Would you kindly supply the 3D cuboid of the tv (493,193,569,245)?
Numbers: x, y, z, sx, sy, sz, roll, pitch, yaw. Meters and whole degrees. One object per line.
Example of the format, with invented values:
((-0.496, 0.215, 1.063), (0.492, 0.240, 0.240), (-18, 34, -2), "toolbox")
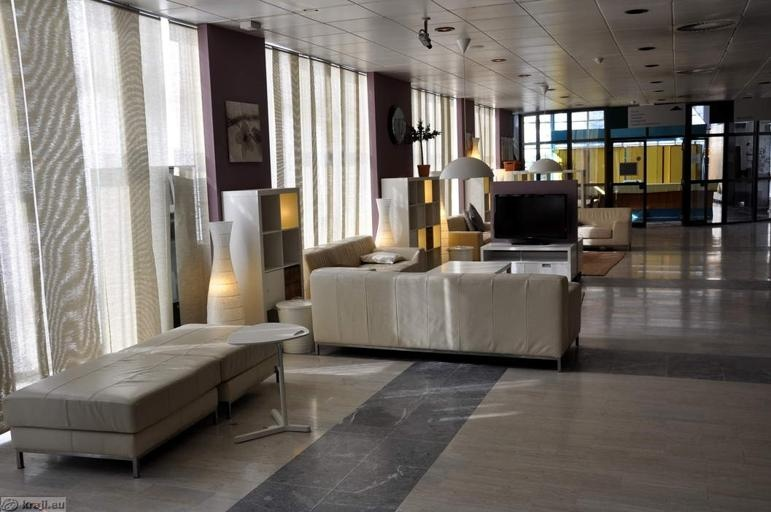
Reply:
((2.452, -0.641, 9.793), (0.963, 0.599, 0.238), (1, 11, 16), "tv")

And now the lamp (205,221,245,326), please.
((-1.932, 0.213, 6.940), (0.409, 1.214, 0.463), (-6, 16, -13), "lamp")

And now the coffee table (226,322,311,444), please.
((-1.127, 1.095, 5.669), (1.042, 1.084, 0.997), (1, 6, 2), "coffee table")

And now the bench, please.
((-2.180, 1.266, 5.456), (1.132, 0.698, 1.936), (6, 16, 30), "bench")

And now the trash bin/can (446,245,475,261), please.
((1.360, -0.060, 10.788), (0.358, 0.193, 0.337), (-1, 2, 12), "trash bin/can")

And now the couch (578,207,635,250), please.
((5.173, -0.567, 14.127), (1.778, 1.119, 1.227), (0, 0, 29), "couch")

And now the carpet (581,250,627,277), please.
((4.368, 0.113, 11.909), (0.816, 0.232, 2.958), (3, 14, 21), "carpet")
